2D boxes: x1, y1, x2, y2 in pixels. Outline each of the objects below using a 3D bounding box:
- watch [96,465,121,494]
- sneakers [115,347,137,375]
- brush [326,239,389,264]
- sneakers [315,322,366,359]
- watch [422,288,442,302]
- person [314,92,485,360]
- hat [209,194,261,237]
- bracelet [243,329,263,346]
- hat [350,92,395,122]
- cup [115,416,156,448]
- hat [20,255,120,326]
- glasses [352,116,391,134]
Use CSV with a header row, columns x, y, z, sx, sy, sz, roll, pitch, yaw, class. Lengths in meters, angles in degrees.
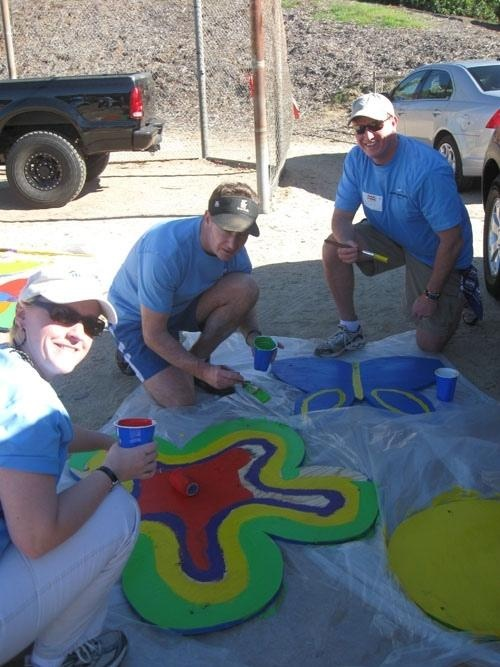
x,y,z,sx,sy,sz,roll,pitch,yaw,class
-0.406,0.415,1.843,0.049,0.075,0.081,-35,23,-28,watch
-0.751,0.187,3.796,0.094,0.236,0.105,-11,-18,-1,sneakers
0.648,-0.510,3.920,0.461,0.066,0.075,13,34,12,brush
0.572,0.028,3.969,0.383,0.161,0.140,-12,26,-14,sneakers
1.047,-0.224,3.625,0.075,0.042,0.081,24,5,-1,watch
0.873,-0.616,3.751,0.970,1.507,0.713,15,31,34,person
-0.077,-0.532,2.860,0.175,0.105,0.209,4,20,-32,hat
0.011,0.021,3.503,0.083,0.030,0.096,-10,58,8,bracelet
0.695,-1.281,3.589,0.201,0.120,0.263,-2,5,21,hat
-0.348,0.299,1.990,0.111,0.070,0.100,-2,9,-13,cup
-0.548,-0.133,1.855,0.177,0.200,0.220,4,-23,-43,hat
0.657,-1.151,3.531,0.214,0.095,0.155,7,25,22,glasses
